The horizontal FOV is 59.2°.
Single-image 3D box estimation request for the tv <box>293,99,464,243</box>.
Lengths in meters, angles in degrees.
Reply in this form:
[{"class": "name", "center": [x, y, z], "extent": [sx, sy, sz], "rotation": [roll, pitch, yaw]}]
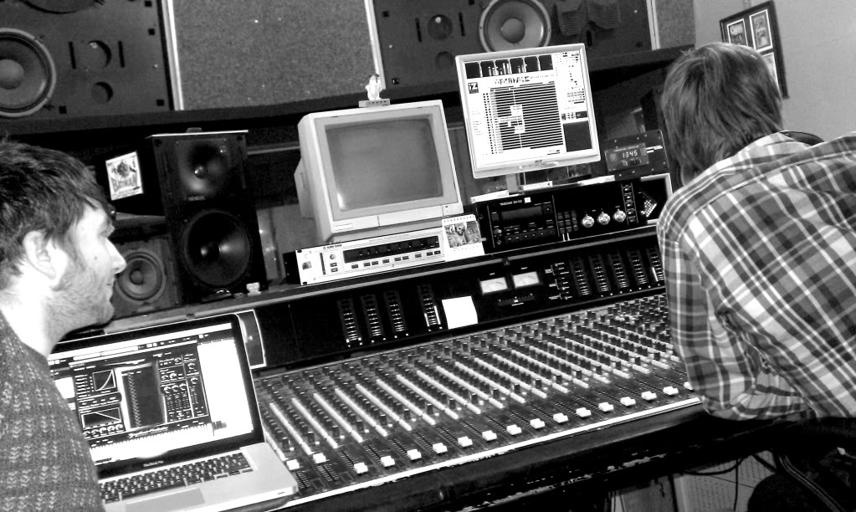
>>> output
[{"class": "tv", "center": [-0.284, -0.397, 3.494], "extent": [0.671, 0.573, 0.637], "rotation": [-8, -13, -22]}]
